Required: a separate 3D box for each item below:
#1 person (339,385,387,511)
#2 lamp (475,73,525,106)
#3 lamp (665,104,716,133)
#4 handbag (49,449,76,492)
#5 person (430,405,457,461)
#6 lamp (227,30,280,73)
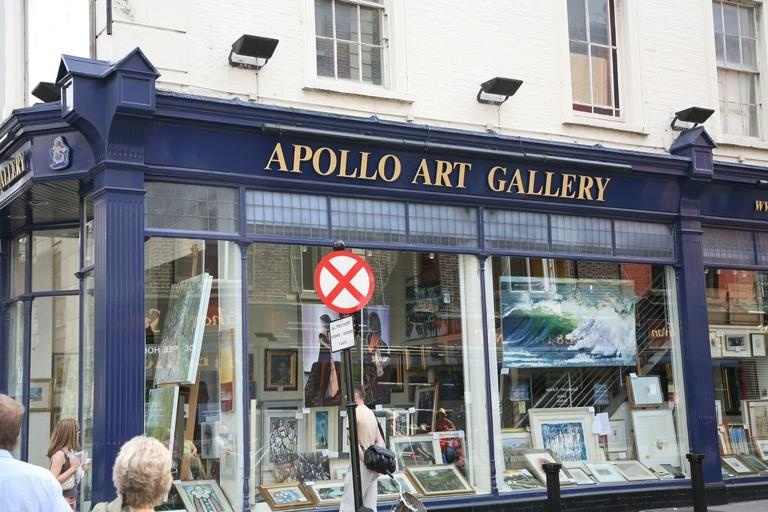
[{"bbox_3d":[-0.374,3.006,17.950,0.738,2.003,1.396,-4,-11,0],"label":"person"},{"bbox_3d":[1.995,-2.877,19.905,0.626,0.369,0.561,0,-12,-23],"label":"lamp"},{"bbox_3d":[5.714,-2.565,21.357,0.661,0.351,0.504,1,10,-39],"label":"lamp"},{"bbox_3d":[-4.615,3.206,16.688,0.305,0.253,0.499,13,2,-19],"label":"handbag"},{"bbox_3d":[1.040,3.058,19.480,0.369,0.920,0.134,-4,-11,-4],"label":"person"},{"bbox_3d":[-2.090,-3.286,18.392,0.632,0.596,0.633,8,24,-18],"label":"lamp"}]
